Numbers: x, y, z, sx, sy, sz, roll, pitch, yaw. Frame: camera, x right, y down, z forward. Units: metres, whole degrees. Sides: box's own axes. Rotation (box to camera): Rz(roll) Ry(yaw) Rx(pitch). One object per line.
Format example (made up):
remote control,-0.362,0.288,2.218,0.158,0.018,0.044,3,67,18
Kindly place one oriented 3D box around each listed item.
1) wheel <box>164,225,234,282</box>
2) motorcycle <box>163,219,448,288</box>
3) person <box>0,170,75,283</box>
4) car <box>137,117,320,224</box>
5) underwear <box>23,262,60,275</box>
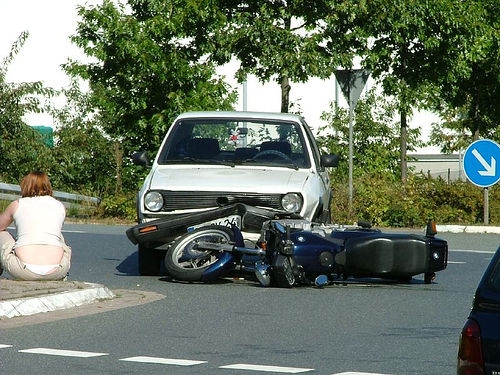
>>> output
wheel,-0.749,0.883,11.142,0.889,0.268,0.878,-15,28,8
motorcycle,0.744,0.957,11.301,3.835,0.992,1.532,0,0,-7
person,-2.883,0.421,10.568,1.118,1.369,1.369,5,19,-16
car,-0.250,-0.351,12.192,2.687,1.715,2.052,0,0,6
underwear,-2.702,1.054,10.101,0.421,0.156,0.053,0,1,-13
